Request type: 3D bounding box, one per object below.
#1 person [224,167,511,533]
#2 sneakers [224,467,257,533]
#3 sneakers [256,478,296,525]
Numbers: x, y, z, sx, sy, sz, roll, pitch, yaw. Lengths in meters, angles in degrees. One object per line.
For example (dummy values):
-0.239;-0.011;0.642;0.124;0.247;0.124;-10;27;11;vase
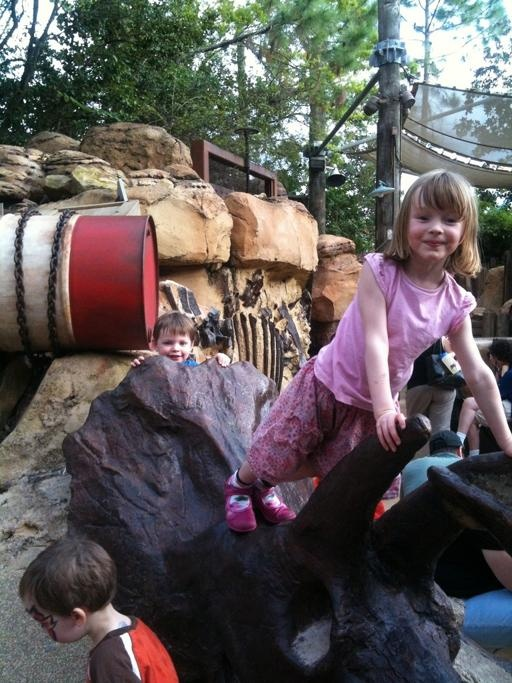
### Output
0.286;0.080;1.509;0.713;1.019;0.636;0;13;-5;person
-0.051;0.481;1.696;0.071;0.065;0.179;0;9;-10;sneakers
0.046;0.493;1.810;0.086;0.066;0.196;-11;17;-34;sneakers
